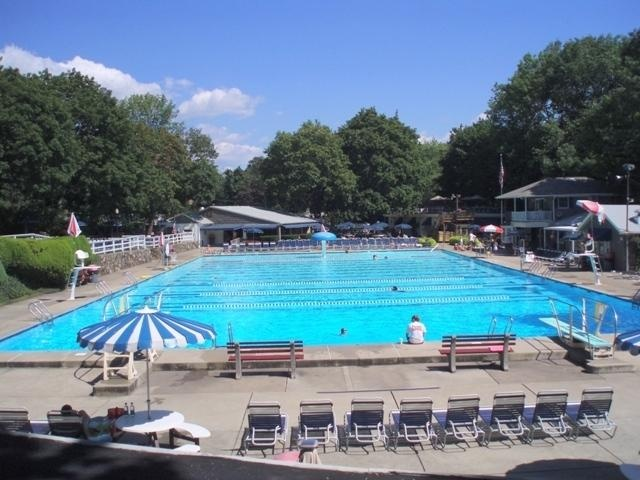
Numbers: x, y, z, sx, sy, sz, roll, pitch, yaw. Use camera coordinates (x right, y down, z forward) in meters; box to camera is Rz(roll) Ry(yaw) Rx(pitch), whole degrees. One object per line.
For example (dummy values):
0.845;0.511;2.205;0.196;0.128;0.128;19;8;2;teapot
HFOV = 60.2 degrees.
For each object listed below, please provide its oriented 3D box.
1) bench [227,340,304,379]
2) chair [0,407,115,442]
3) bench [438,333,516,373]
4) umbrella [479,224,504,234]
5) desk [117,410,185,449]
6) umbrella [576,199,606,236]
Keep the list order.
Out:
-1.676;3.599;17.177;2.343;1.129;0.984;-2;3;-6;bench
-6.042;4.240;12.869;2.580;0.776;1.051;-2;3;1;chair
4.931;3.454;17.385;2.263;1.103;0.825;-2;3;-4;bench
14.768;-1.032;47.784;1.979;0.719;2.006;1;0;5;umbrella
-3.879;4.127;12.618;1.037;0.526;1.058;4;11;13;desk
17.068;-1.778;34.611;1.309;1.455;2.047;1;3;41;umbrella
